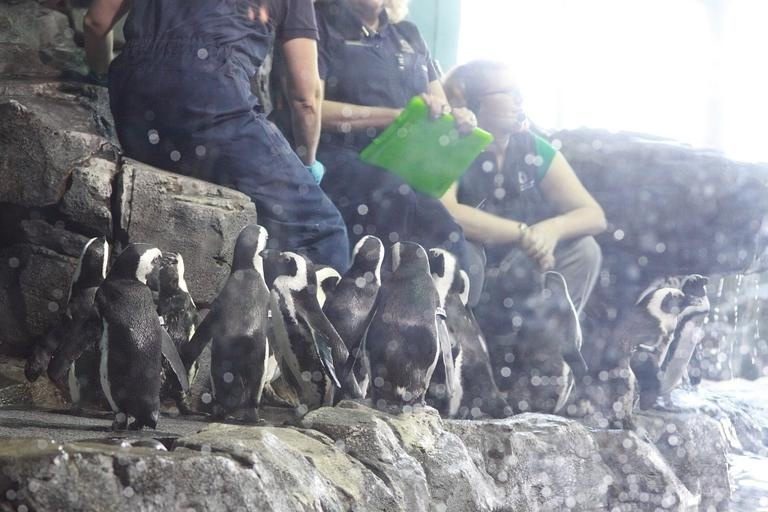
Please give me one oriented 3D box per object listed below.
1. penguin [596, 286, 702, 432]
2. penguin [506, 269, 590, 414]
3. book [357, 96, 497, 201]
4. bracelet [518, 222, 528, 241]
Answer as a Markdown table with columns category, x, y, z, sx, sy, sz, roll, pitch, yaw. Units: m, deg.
| category | x | y | z | sx | sy | sz | roll | pitch | yaw |
| --- | --- | --- | --- | --- | --- | --- | --- | --- | --- |
| penguin | 1.802 | 0.704 | 8.675 | 0.438 | 1.112 | 1.034 | 1 | -16 | 36 |
| penguin | 1.094 | 0.561 | 8.133 | 0.473 | 0.990 | 0.326 | 8 | -12 | 9 |
| book | 0.269 | -0.695 | 8.158 | 0.664 | 0.222 | 0.656 | 30 | -65 | -25 |
| bracelet | 0.963 | -0.179 | 8.711 | 0.095 | 0.101 | 0.098 | 1 | -10 | -1 |
